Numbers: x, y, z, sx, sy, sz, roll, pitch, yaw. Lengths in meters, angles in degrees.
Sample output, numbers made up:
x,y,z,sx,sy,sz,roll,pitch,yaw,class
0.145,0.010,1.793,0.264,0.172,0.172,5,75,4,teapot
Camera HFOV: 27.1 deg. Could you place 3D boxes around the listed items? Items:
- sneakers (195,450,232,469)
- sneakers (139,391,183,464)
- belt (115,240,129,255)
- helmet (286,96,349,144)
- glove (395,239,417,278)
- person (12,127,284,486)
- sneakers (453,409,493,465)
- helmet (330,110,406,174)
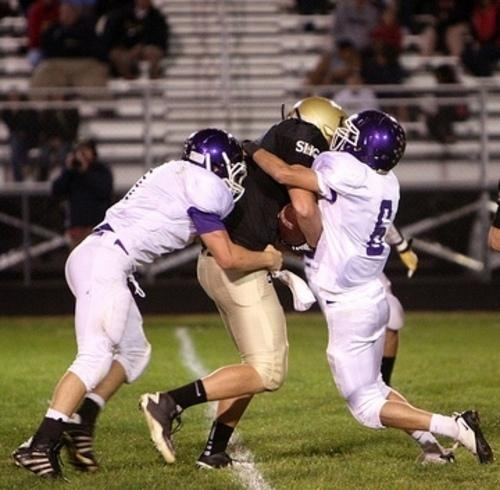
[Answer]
x,y,z,sx,sy,sz,roll,pitch,yaw,class
-0.187,1.184,5.661,0.223,0.088,0.075,1,2,-13,sneakers
-0.471,0.970,5.491,0.211,0.343,0.153,0,9,1,sneakers
-0.677,0.016,5.527,0.045,0.078,0.016,-39,10,3,belt
0.418,-0.748,6.058,0.344,0.262,0.246,31,15,9,helmet
1.241,0.124,8.260,0.172,0.415,0.113,-15,32,-2,glove
-0.592,0.305,5.572,1.353,1.837,0.468,-2,10,-13,person
1.172,1.025,5.472,0.211,0.296,0.119,2,10,11,sneakers
0.658,-0.567,5.693,0.415,0.304,0.297,27,8,16,helmet
